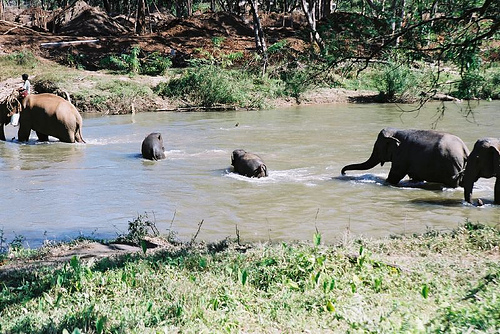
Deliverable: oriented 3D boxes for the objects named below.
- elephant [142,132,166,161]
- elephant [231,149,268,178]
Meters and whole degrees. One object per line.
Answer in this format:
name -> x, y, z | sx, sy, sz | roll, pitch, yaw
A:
elephant -> -3.190, -0.538, 19.398 | 0.642, 0.873, 1.716 | -11, 14, -4
elephant -> -0.043, -0.089, 16.839 | 0.527, 0.681, 1.115 | -5, 10, -34
